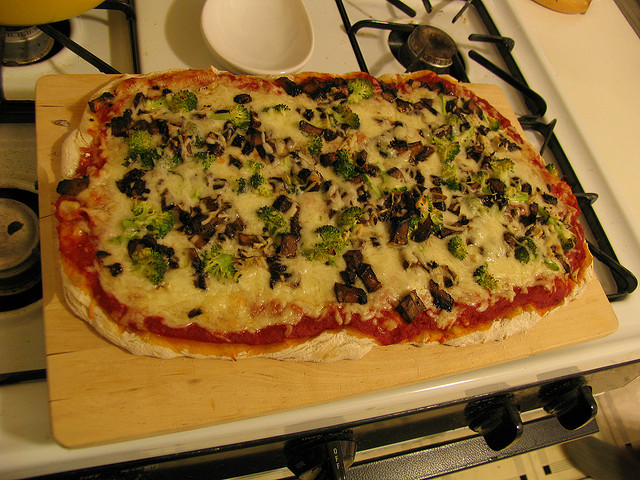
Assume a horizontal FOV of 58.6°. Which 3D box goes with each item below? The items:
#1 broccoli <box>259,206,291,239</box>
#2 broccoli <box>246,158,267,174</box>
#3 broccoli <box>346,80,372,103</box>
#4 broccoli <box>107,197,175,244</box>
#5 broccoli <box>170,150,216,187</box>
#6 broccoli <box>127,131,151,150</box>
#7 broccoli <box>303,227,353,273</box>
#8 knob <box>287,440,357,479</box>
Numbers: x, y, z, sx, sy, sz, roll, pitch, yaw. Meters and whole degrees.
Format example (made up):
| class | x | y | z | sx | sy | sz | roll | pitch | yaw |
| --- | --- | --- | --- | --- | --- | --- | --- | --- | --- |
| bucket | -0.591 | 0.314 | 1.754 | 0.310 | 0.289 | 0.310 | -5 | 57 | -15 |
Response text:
| class | x | y | z | sx | sy | sz | roll | pitch | yaw |
| --- | --- | --- | --- | --- | --- | --- | --- | --- | --- |
| broccoli | -0.341 | -0.146 | 4.406 | 0.220 | 0.060 | 0.172 | 11 | 58 | 51 |
| broccoli | -0.510 | -0.588 | 4.504 | 0.127 | 0.057 | 0.123 | 6 | 56 | -20 |
| broccoli | 0.311 | -1.274 | 4.934 | 0.193 | 0.072 | 0.196 | 43 | 83 | -13 |
| broccoli | -1.344 | -0.141 | 4.263 | 0.450 | 0.270 | 0.234 | 3 | 34 | -11 |
| broccoli | -0.991 | -0.559 | 4.425 | 0.347 | 0.069 | 0.201 | -33 | 90 | -22 |
| broccoli | -1.380 | -0.761 | 4.367 | 0.151 | 0.089 | 0.143 | -37 | 73 | -7 |
| broccoli | 0.045 | 0.095 | 4.404 | 0.352 | 0.120 | 0.312 | -3 | 74 | -10 |
| knob | -0.006 | 1.601 | 4.088 | 0.333 | 0.311 | 0.229 | 14 | 48 | -23 |
